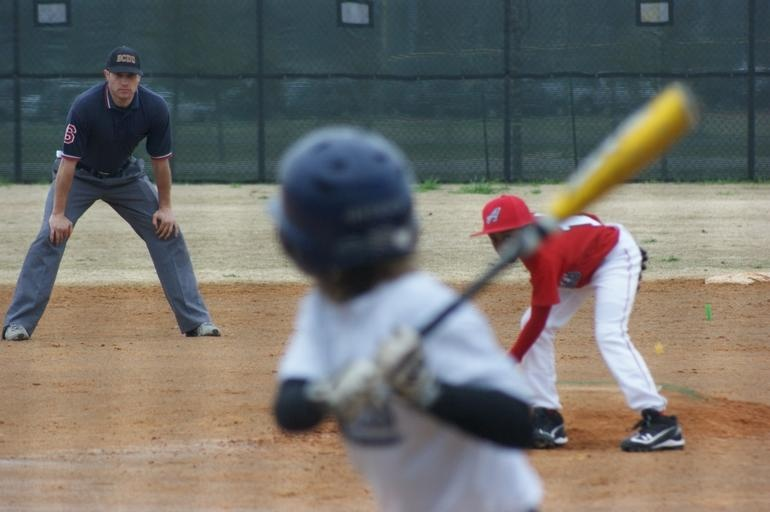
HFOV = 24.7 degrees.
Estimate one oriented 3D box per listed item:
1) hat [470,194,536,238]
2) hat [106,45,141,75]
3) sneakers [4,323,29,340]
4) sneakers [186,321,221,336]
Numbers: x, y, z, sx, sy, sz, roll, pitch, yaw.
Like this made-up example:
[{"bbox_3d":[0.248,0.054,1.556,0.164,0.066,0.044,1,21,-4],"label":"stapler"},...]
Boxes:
[{"bbox_3d":[1.133,-0.374,15.959,0.320,0.217,0.453,-10,7,45],"label":"hat"},{"bbox_3d":[-2.599,-1.947,17.507,0.330,0.233,0.263,5,14,-8],"label":"hat"},{"bbox_3d":[-3.717,0.778,17.722,0.244,0.122,0.101,2,17,-19],"label":"sneakers"},{"bbox_3d":[-1.843,0.745,18.012,0.386,0.147,0.136,-3,-3,14],"label":"sneakers"}]
